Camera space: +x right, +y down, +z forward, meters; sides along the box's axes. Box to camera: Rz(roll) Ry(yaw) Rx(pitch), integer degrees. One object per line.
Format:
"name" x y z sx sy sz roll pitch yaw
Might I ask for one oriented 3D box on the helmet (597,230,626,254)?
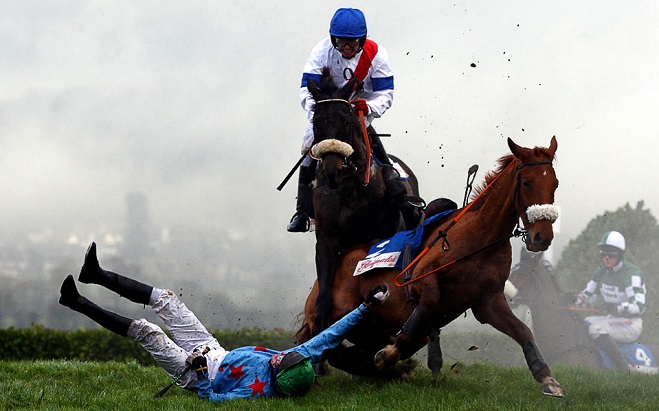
"helmet" 5.396 0.723 19.848 0.350 0.404 0.459 14 24 28

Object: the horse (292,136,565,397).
"horse" 1.539 1.146 16.324 1.626 3.472 4.946 22 -21 -38

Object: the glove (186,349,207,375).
"glove" -1.875 2.268 15.129 0.299 0.315 0.131 11 -40 9

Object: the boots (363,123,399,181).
"boots" 0.727 -0.690 15.695 0.273 1.087 0.610 -22 8 -12
